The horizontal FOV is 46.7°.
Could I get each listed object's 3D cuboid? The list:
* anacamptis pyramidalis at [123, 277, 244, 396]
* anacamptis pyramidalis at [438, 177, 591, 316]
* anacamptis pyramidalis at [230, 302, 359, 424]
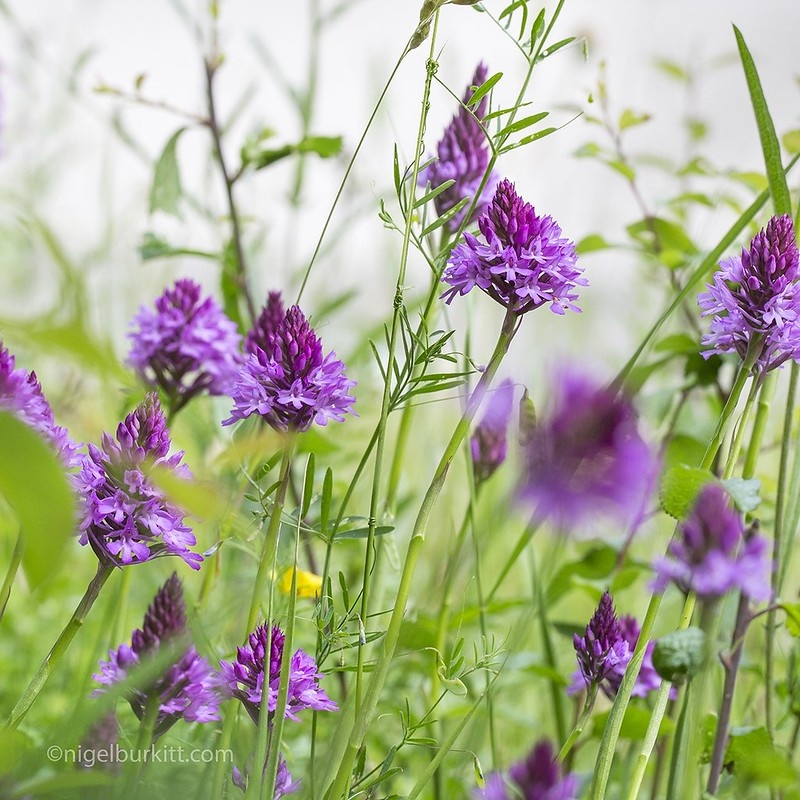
[{"bbox_3d":[-0.249,-0.103,1.190,0.131,0.202,0.154,2,11,8],"label":"anacamptis pyramidalis"},{"bbox_3d":[0.108,-0.132,0.862,0.133,0.119,0.102,8,-21,26],"label":"anacamptis pyramidalis"},{"bbox_3d":[-0.098,-0.013,0.862,0.090,0.104,0.122,-1,-57,0],"label":"anacamptis pyramidalis"}]
